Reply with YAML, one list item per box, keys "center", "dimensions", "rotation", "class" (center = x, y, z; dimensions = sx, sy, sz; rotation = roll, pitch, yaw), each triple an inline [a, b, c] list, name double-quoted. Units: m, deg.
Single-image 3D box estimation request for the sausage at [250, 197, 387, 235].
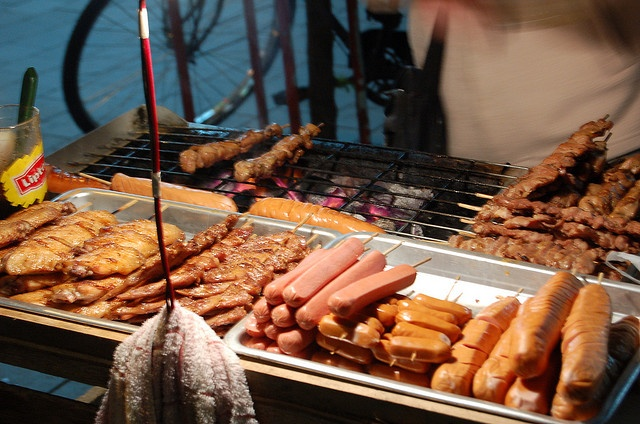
- center: [-0.015, 0.032, 3.267]
  dimensions: [0.918, 0.143, 0.169]
  rotation: [13, 32, 10]
  class: "sausage"
